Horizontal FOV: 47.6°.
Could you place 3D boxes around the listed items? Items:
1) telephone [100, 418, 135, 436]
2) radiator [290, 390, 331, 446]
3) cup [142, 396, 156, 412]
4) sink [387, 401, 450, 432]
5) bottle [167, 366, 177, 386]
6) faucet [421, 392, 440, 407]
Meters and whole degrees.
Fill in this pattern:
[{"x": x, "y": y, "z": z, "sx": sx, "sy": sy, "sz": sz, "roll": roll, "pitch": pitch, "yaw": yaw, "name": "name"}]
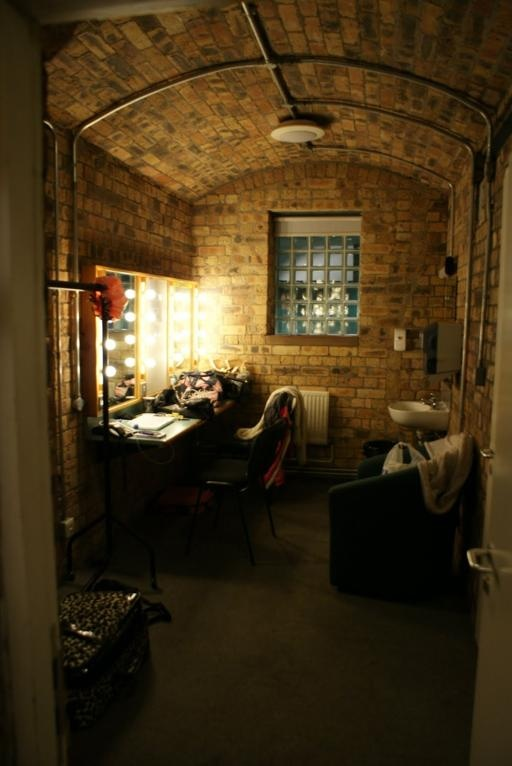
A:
[{"x": -0.846, "y": 0.275, "z": 3.549, "sx": 0.158, "sy": 0.053, "sz": 0.114, "roll": 7, "pitch": 3, "yaw": 39, "name": "telephone"}, {"x": 0.470, "y": 0.299, "z": 5.053, "sx": 0.517, "sy": 0.591, "sz": 0.059, "roll": 1, "pitch": 9, "yaw": 11, "name": "radiator"}, {"x": -0.800, "y": 0.155, "z": 4.359, "sx": 0.105, "sy": 0.110, "sz": 0.098, "roll": -1, "pitch": -6, "yaw": 0, "name": "cup"}, {"x": 1.285, "y": 0.269, "z": 4.513, "sx": 0.311, "sy": 0.124, "sz": 0.280, "roll": 3, "pitch": 6, "yaw": 9, "name": "sink"}, {"x": -0.704, "y": -0.054, "z": 4.829, "sx": 0.023, "sy": 0.207, "sz": 0.155, "roll": -1, "pitch": 3, "yaw": 18, "name": "bottle"}, {"x": 1.520, "y": 0.148, "z": 5.049, "sx": 0.196, "sy": 0.112, "sz": 0.196, "roll": 1, "pitch": 1, "yaw": 0, "name": "faucet"}]
